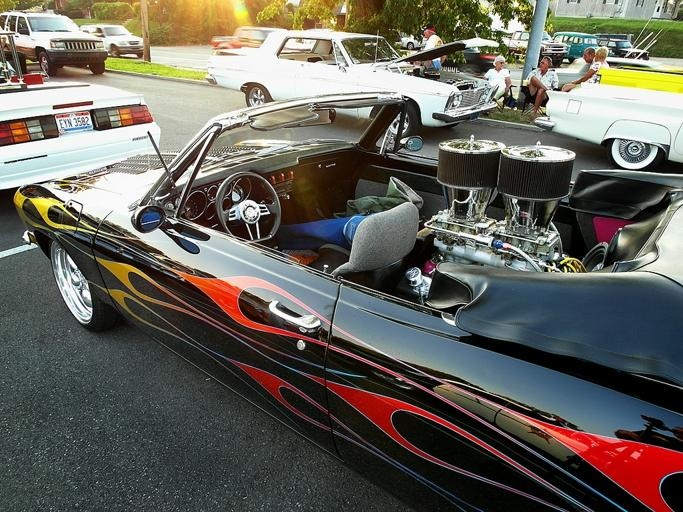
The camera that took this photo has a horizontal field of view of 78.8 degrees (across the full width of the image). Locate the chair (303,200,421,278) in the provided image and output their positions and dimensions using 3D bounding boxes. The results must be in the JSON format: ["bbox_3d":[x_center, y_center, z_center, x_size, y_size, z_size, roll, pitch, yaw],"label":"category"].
[{"bbox_3d":[0.200,-0.096,2.347,0.297,0.389,0.576,17,25,36],"label":"chair"}]

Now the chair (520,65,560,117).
[{"bbox_3d":[4.877,-4.124,10.161,0.764,1.515,0.888,10,15,17],"label":"chair"}]
